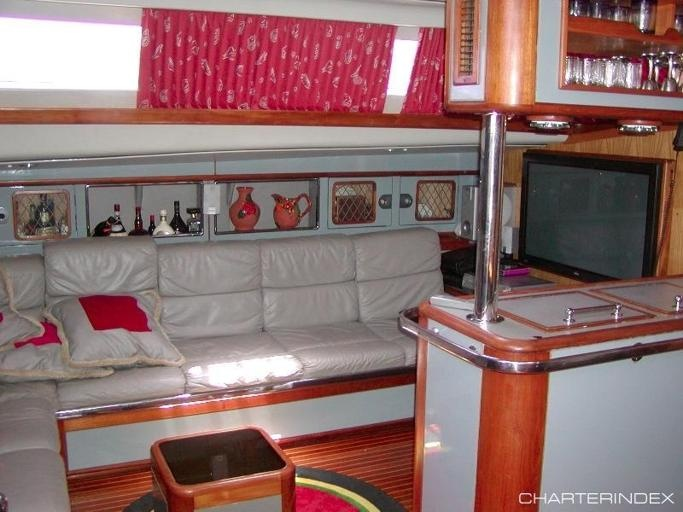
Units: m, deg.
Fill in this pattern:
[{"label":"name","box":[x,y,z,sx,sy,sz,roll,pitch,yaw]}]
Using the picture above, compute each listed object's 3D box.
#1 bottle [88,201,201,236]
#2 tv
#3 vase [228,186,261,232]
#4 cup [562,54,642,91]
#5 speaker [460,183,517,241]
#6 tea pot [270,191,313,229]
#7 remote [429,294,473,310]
[{"label":"bottle","box":[-1.351,-0.251,3.635,0.672,0.235,0.349,-9,16,-33]},{"label":"tv","box":[1.721,-0.268,3.575,0.104,0.679,1.004,-6,11,-36]},{"label":"vase","box":[-0.714,-0.349,3.846,0.240,0.310,0.240,10,21,14]},{"label":"cup","box":[0.966,-0.671,1.926,0.269,0.089,0.192,3,3,-1]},{"label":"speaker","box":[1.126,-0.337,4.068,0.427,0.418,0.616,3,14,14]},{"label":"tea pot","box":[-0.334,-0.351,4.024,0.250,0.273,0.414,3,14,15]},{"label":"remote","box":[0.431,0.184,2.065,0.165,0.040,0.077,2,13,10]}]
